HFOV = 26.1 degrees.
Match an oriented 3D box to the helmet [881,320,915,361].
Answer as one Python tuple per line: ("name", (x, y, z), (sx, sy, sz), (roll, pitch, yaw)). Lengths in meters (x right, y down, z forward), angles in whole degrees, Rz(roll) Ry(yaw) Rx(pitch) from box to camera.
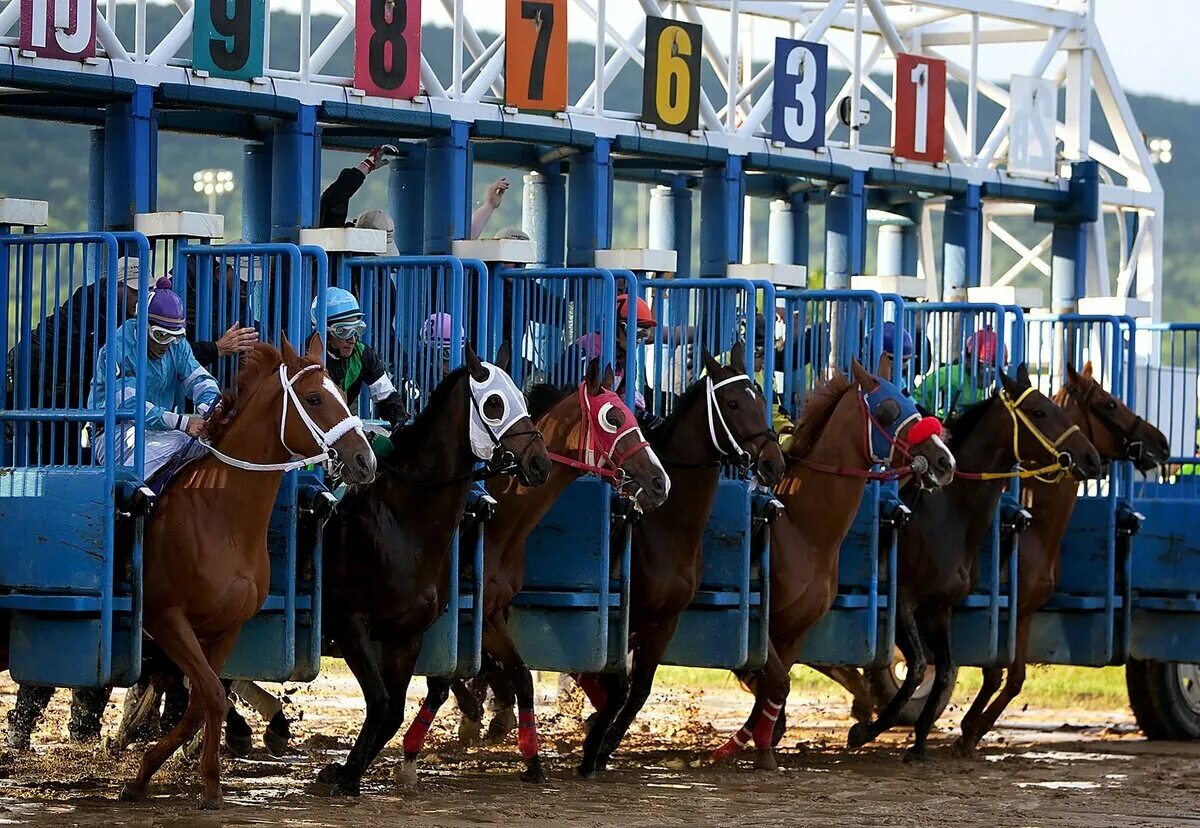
("helmet", (2.065, -0.503, 17.918), (0.293, 0.309, 0.229), (-3, 7, 14))

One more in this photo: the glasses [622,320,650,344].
("glasses", (0.239, -0.521, 16.811), (0.164, 0.101, 0.124), (0, -10, -11))

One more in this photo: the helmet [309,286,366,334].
("helmet", (-1.560, -0.636, 15.874), (0.213, 0.275, 0.456), (0, -1, -2))

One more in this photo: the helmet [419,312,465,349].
("helmet", (-0.995, -0.525, 16.415), (0.274, 0.246, 0.183), (4, -5, -16))

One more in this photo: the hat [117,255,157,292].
("hat", (-2.915, -0.873, 16.114), (0.250, 0.133, 0.378), (-4, 9, -33))

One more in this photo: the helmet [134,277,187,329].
("helmet", (-2.560, -0.657, 15.348), (0.221, 0.320, 0.485), (0, -1, -10))

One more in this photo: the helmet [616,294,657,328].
("helmet", (0.233, -0.665, 16.727), (0.248, 0.142, 0.173), (8, 3, 9))
